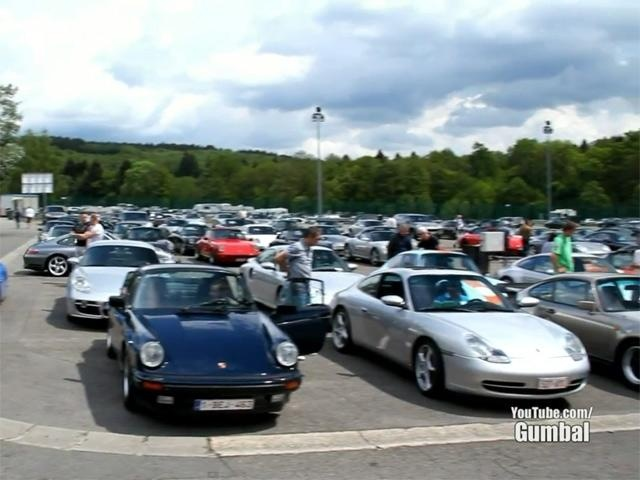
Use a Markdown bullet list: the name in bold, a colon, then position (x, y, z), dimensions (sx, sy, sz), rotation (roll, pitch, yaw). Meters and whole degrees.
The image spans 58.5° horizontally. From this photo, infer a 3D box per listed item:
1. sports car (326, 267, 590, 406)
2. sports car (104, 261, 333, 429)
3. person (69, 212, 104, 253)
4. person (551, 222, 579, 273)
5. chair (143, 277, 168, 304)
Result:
- **sports car**: position (1.957, 1.249, 9.108), dimensions (2.232, 0.980, 4.457), rotation (-1, 7, -23)
- **sports car**: position (-1.313, 1.196, 6.819), dimensions (2.015, 0.660, 2.727), rotation (1, 2, -18)
- **person**: position (-6.225, -0.165, 15.271), dimensions (0.750, 1.109, 0.853), rotation (2, 4, -15)
- **person**: position (5.225, 0.152, 12.192), dimensions (0.442, 1.068, 0.710), rotation (6, 5, 20)
- **chair**: position (-2.237, 0.692, 7.723), dimensions (0.262, 0.302, 0.111), rotation (-4, -21, -9)
